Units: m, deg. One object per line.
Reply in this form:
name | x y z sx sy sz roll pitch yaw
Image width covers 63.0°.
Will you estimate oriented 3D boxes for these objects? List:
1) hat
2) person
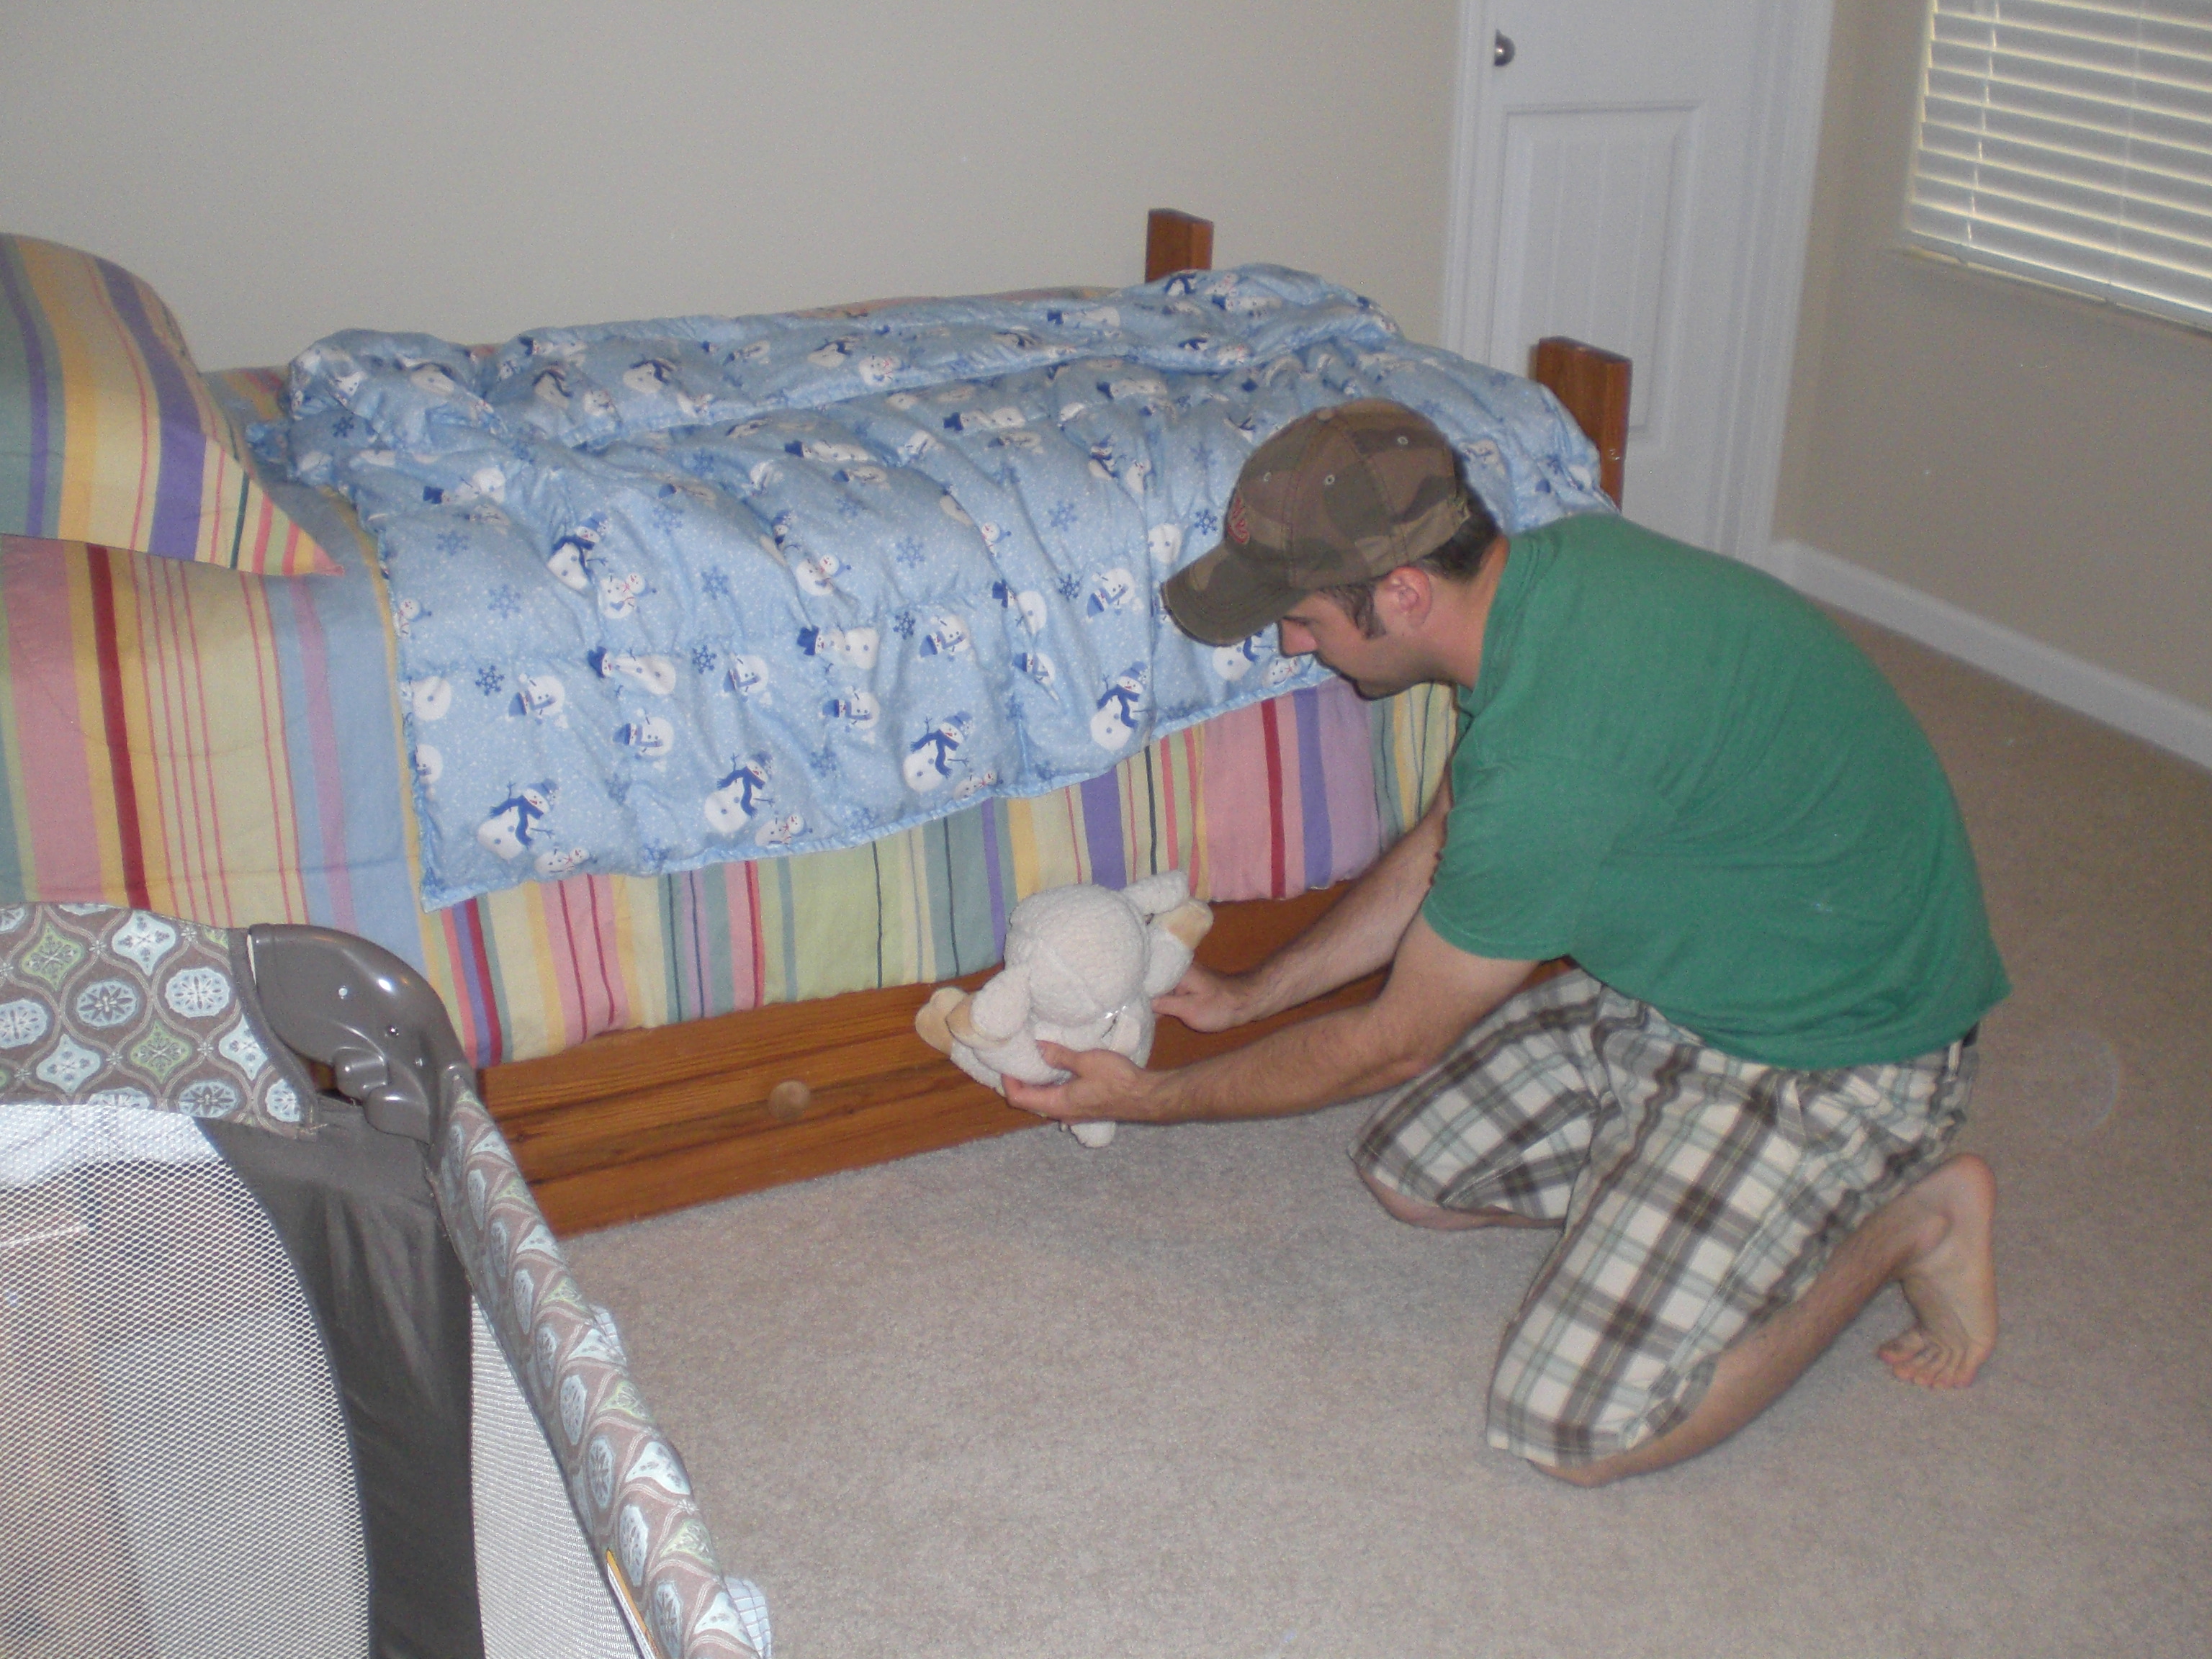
hat | 0.232 -0.334 2.011 0.190 0.265 0.313 -24 39 -38
person | 0.483 0.142 2.274 1.251 1.235 0.807 -4 16 14
